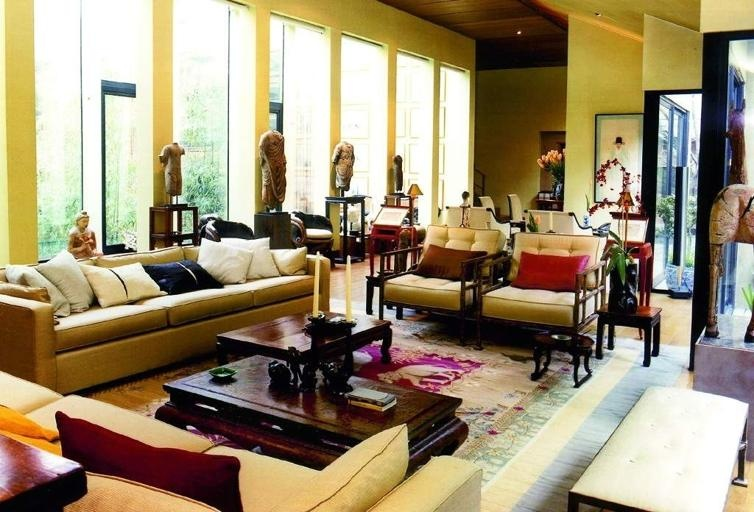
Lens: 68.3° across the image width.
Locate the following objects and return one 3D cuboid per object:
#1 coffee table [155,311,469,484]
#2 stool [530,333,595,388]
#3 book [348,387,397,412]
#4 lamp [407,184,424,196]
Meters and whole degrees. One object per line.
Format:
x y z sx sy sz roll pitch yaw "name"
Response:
-0.481 0.811 3.187 1.075 0.264 1.151 5 10 34 "coffee table"
1.610 0.918 4.811 0.570 0.396 0.582 -12 -17 24 "stool"
-0.026 0.806 3.146 0.164 0.039 0.128 4 8 29 "book"
0.689 -1.201 10.279 0.294 0.221 0.283 -4 4 -26 "lamp"
